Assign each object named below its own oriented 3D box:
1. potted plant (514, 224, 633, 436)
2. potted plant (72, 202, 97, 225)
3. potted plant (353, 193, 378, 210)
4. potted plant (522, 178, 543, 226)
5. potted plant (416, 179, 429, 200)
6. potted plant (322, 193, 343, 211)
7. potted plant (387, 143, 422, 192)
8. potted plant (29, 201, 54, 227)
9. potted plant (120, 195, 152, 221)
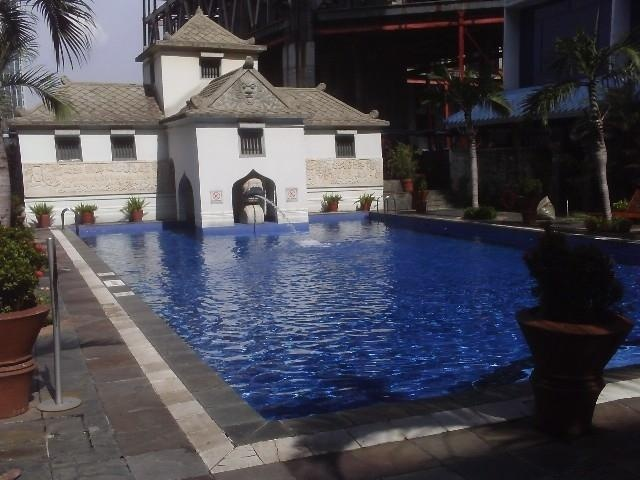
[{"bbox_3d":[1.970,0.720,3.773,0.816,1.545,0.557,1,9,22],"label":"potted plant"},{"bbox_3d":[-10.094,-1.113,20.730,1.319,0.941,1.024,-1,1,-14],"label":"potted plant"},{"bbox_3d":[2.214,-1.914,23.837,1.106,0.826,0.985,3,13,17],"label":"potted plant"},{"bbox_3d":[6.919,-1.272,15.897,0.598,1.415,0.679,1,9,19],"label":"potted plant"},{"bbox_3d":[4.776,-2.407,22.777,0.638,0.987,1.802,0,7,12],"label":"potted plant"},{"bbox_3d":[0.469,-1.854,23.252,1.072,0.857,0.949,-7,14,-38],"label":"potted plant"},{"bbox_3d":[4.087,-3.647,24.025,1.508,2.490,2.304,-1,8,7],"label":"potted plant"},{"bbox_3d":[-11.628,-1.067,20.180,0.869,1.026,0.657,-6,9,-24],"label":"potted plant"},{"bbox_3d":[-8.249,-1.402,21.365,1.090,1.081,0.889,-5,8,-20],"label":"potted plant"}]
